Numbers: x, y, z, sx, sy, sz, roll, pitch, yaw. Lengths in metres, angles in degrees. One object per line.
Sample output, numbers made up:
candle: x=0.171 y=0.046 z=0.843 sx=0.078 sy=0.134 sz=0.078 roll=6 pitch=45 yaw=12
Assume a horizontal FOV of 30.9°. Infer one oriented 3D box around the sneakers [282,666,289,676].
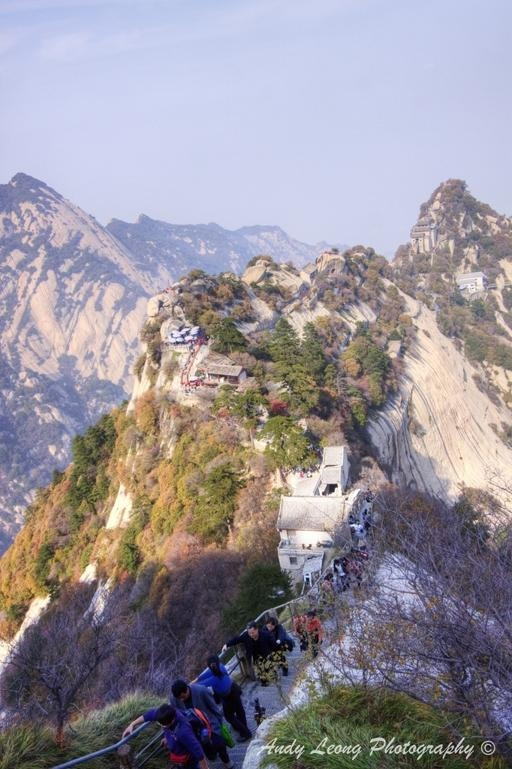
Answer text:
sneakers: x=0.686 y=6.728 z=21.856 sx=0.082 sy=0.312 sz=0.161 roll=-8 pitch=-4 yaw=-2
